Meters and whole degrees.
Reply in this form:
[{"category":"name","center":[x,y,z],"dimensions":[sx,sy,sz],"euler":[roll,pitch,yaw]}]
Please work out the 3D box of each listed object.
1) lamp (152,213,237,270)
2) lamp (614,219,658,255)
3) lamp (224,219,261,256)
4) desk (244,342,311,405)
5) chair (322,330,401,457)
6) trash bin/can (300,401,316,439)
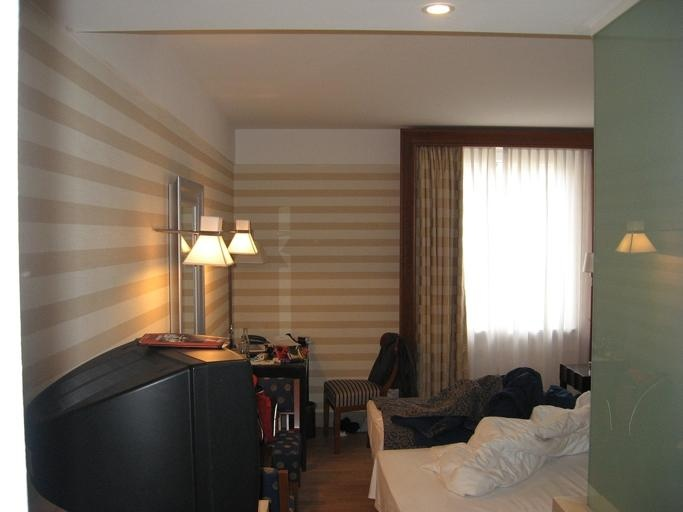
[{"category":"lamp","center":[-0.631,-0.074,2.544],"dimensions":[0.197,0.239,0.226],"euler":[-1,-3,7]},{"category":"lamp","center":[0.817,-0.049,1.521],"dimensions":[0.081,0.079,0.075],"euler":[-3,9,-16]},{"category":"lamp","center":[-0.588,-0.114,3.399],"dimensions":[0.218,0.249,0.223],"euler":[0,6,3]},{"category":"desk","center":[-0.467,0.792,3.993],"dimensions":[0.472,0.363,0.729],"euler":[0,2,-2]},{"category":"chair","center":[0.160,1.076,4.413],"dimensions":[0.605,0.876,0.555],"euler":[2,-2,-2]},{"category":"trash bin/can","center":[-0.263,1.321,4.382],"dimensions":[0.167,0.247,0.189],"euler":[-1,-4,-25]}]
